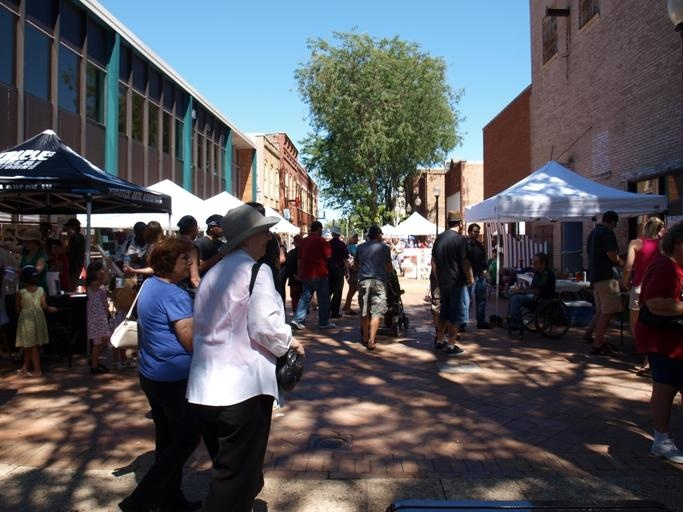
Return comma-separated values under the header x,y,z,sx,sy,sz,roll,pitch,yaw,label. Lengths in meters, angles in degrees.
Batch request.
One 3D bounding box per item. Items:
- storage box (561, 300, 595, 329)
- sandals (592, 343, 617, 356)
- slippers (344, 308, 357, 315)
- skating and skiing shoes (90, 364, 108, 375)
x,y,z,sx,sy,sz,roll,pitch,yaw,label
5.117,1.224,11.128,0.709,0.697,0.762,0,1,10,storage box
4.269,1.527,8.454,0.338,0.154,0.188,-4,4,3,sandals
0.247,1.474,13.842,0.343,0.154,0.135,1,0,-5,slippers
-3.557,1.660,7.698,0.288,0.137,0.109,-1,4,-28,skating and skiing shoes
